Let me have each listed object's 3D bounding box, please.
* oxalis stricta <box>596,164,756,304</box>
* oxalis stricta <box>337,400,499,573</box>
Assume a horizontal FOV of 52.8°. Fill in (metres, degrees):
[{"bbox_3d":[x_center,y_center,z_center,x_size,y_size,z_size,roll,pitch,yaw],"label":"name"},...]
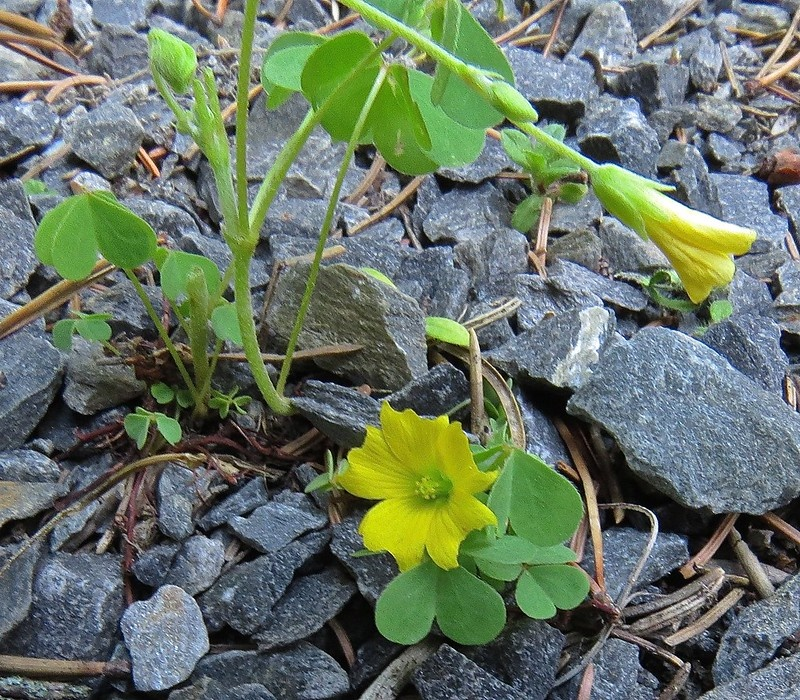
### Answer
[{"bbox_3d":[0.459,-0.212,1.477,0.289,0.125,0.202,40,66,-2],"label":"oxalis stricta"},{"bbox_3d":[0.059,0.244,1.438,0.315,0.160,0.341,9,21,3],"label":"oxalis stricta"}]
